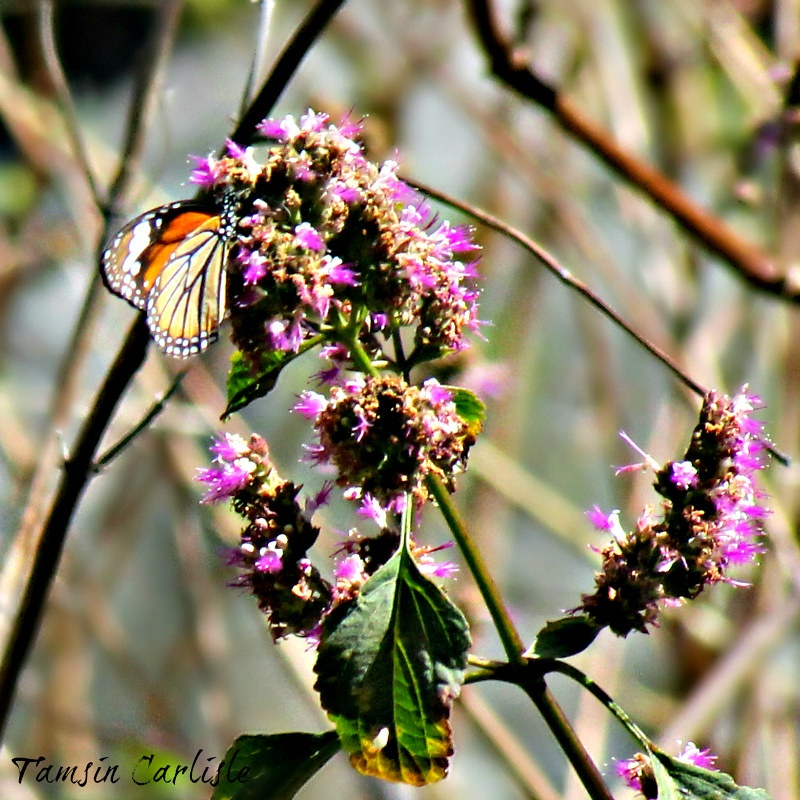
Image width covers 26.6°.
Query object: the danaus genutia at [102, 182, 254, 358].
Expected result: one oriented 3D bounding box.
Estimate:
[{"bbox_3d":[-0.259,-0.164,2.026,0.089,0.232,0.183,21,-81,-13],"label":"danaus genutia"}]
